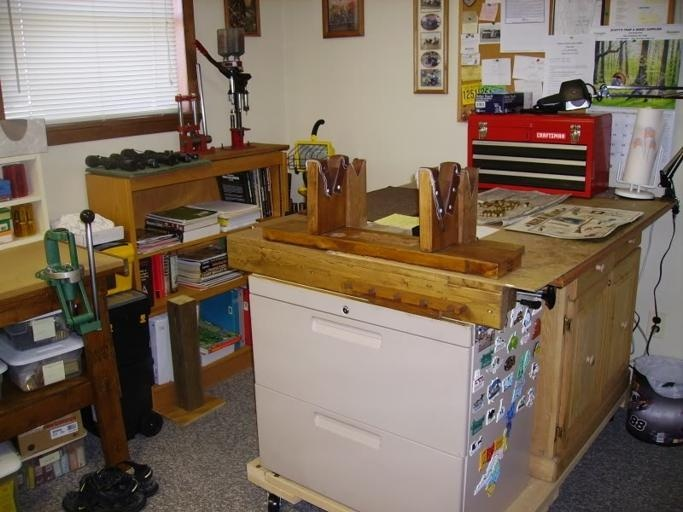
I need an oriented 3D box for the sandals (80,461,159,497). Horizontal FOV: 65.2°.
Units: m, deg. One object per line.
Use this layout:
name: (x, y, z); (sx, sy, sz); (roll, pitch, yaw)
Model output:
sandals: (-1.015, 1.021, 2.450); (0.244, 0.084, 0.181); (6, 5, 12)
